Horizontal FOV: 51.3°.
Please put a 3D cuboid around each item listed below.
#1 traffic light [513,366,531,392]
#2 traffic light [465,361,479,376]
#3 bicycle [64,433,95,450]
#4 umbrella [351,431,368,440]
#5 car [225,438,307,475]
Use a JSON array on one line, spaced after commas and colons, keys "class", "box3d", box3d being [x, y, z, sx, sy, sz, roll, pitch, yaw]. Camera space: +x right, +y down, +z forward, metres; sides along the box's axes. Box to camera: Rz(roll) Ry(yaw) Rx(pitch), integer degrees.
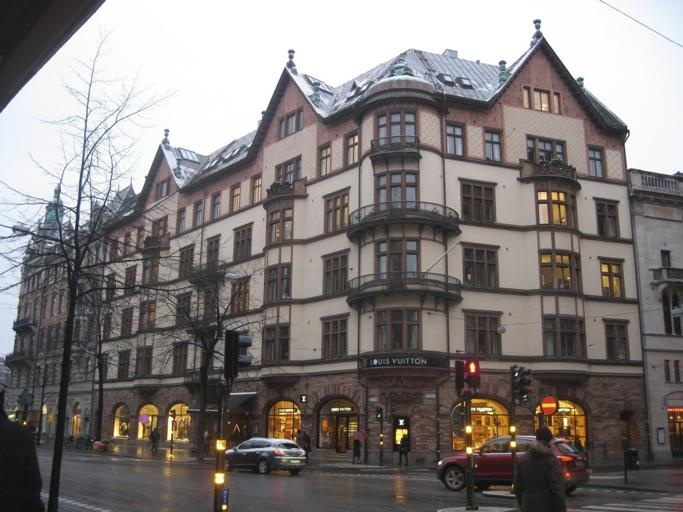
[{"class": "traffic light", "box3d": [5.676, 3.908, 22.347, 0.531, 0.866, 0.771, -5, -22, 12]}, {"class": "traffic light", "box3d": [3.701, 3.162, 20.125, 0.358, 0.555, 0.544, -2, -21, 6]}, {"class": "bicycle", "box3d": [-20.608, 14.622, 55.602, 2.228, 1.487, 1.513, -2, -10, 14]}, {"class": "umbrella", "box3d": [1.020, 10.167, 40.446, 0.732, 0.522, 1.535, -3, -21, 7]}, {"class": "car", "box3d": [-3.459, 9.041, 32.138, 3.673, 1.691, 0.995, -12, -24, 29]}]
